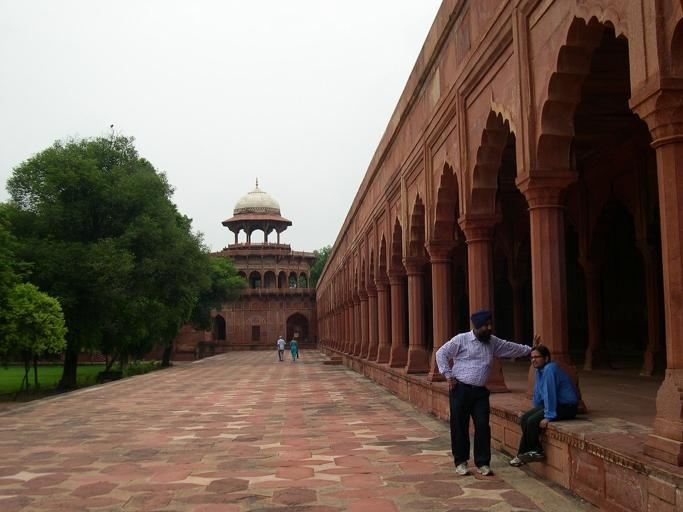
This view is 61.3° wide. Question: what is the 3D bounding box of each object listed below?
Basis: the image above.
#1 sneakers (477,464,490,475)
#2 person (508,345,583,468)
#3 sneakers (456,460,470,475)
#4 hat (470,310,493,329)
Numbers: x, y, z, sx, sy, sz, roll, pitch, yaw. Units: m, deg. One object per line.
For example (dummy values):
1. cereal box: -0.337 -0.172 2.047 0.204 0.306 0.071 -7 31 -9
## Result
1. sneakers: 1.499 2.236 6.060 0.164 0.108 0.146 -3 -11 23
2. person: 2.095 1.535 5.967 0.639 1.218 0.446 -4 -11 27
3. sneakers: 1.303 2.259 6.155 0.150 0.114 0.177 1 -10 2
4. hat: 1.521 0.674 6.348 0.212 0.224 0.174 7 7 40
